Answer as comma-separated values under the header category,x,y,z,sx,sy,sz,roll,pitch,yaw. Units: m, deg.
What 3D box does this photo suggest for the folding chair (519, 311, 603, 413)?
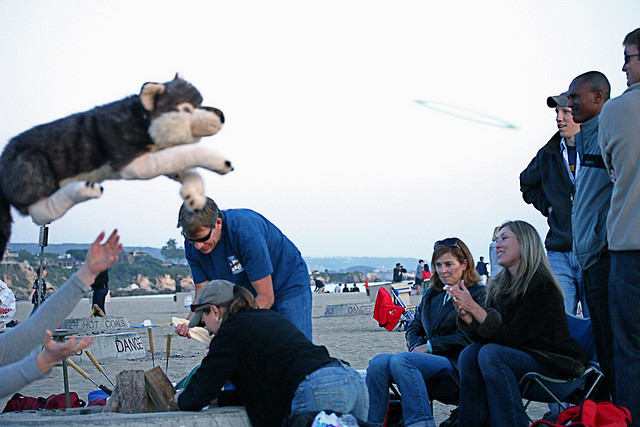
category,x,y,z,sx,sy,sz,roll,pitch,yaw
folding chair,2.394,1.449,4.635,0.776,1.221,0.869,-8,-34,33

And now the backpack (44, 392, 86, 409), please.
category,x,y,z,sx,sy,sz,roll,pitch,yaw
backpack,-2.763,2.010,5.037,0.285,0.117,0.339,0,-10,1

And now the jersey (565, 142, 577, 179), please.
category,x,y,z,sx,sy,sz,roll,pitch,yaw
jersey,3.276,-0.716,6.040,0.100,0.297,0.211,-9,-3,20

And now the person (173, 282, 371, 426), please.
category,x,y,z,sx,sy,sz,roll,pitch,yaw
person,-0.220,1.250,4.218,1.314,1.395,0.964,-2,-7,22

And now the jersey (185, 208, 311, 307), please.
category,x,y,z,sx,sy,sz,roll,pitch,yaw
jersey,-0.797,0.562,5.359,1.509,1.199,1.213,-1,-4,-39

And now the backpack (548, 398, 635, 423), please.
category,x,y,z,sx,sy,sz,roll,pitch,yaw
backpack,2.323,1.678,3.924,0.343,0.134,0.270,-6,-3,11

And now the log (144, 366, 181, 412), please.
category,x,y,z,sx,sy,sz,roll,pitch,yaw
log,-1.504,1.650,4.240,0.238,0.120,0.463,44,-14,-33

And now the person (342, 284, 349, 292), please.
category,x,y,z,sx,sy,sz,roll,pitch,yaw
person,2.634,7.788,48.419,0.663,0.836,0.530,2,2,1

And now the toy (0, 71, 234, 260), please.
category,x,y,z,sx,sy,sz,roll,pitch,yaw
toy,-1.179,-0.390,2.663,1.313,0.835,0.217,-4,-7,-4

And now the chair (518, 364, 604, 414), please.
category,x,y,z,sx,sy,sz,roll,pitch,yaw
chair,2.342,1.698,4.618,0.606,0.412,0.590,5,-9,-4
